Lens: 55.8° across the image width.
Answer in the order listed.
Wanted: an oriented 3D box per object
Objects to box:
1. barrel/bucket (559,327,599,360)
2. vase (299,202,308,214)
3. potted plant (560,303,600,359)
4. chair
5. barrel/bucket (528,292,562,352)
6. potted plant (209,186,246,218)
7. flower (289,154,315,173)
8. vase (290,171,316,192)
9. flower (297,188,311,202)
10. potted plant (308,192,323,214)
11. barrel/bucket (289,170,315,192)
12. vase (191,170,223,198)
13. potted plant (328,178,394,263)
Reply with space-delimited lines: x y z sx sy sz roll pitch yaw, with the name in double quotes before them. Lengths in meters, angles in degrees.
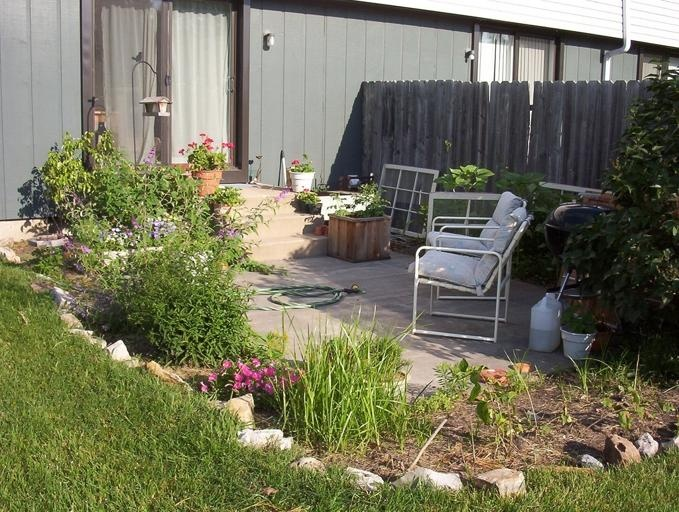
"barrel/bucket" 1.927 0.715 5.200 0.214 0.203 0.241 5 1 13
"vase" -0.499 -0.712 9.050 0.044 0.149 0.255 -2 12 -33
"potted plant" 1.949 0.621 5.253 0.281 0.441 0.308 8 10 23
"chair" 1.306 -0.023 6.415 1.027 1.331 1.889 5 9 9
"barrel/bucket" 1.781 0.572 5.496 0.238 0.450 0.341 11 11 39
"potted plant" -1.437 -0.729 8.063 0.363 0.323 0.398 1 7 1
"flower" -0.574 -1.445 9.981 0.360 0.323 0.400 -3 8 -34
"vase" -0.608 -1.171 9.930 0.325 0.285 0.354 -1 6 -9
"flower" -0.519 -0.893 9.060 0.165 0.082 0.168 -8 18 -34
"potted plant" -0.367 -0.789 8.984 0.223 0.323 0.251 0 2 -4
"barrel/bucket" -0.596 -1.174 9.938 0.333 0.306 0.376 -1 5 -9
"vase" -1.738 -1.009 8.413 0.361 0.318 0.393 -1 3 -7
"potted plant" 0.292 -0.441 8.665 0.846 0.920 0.584 -1 10 -28
